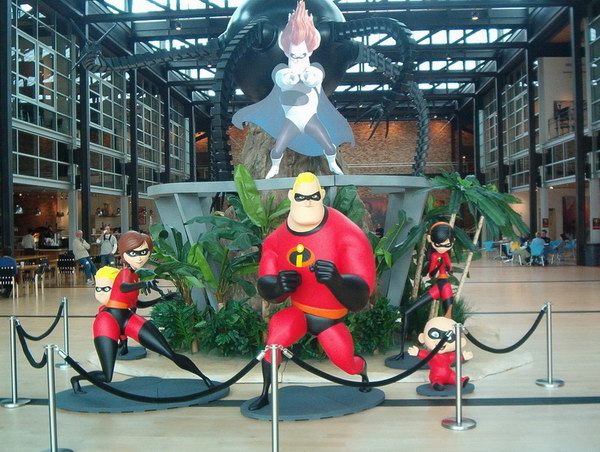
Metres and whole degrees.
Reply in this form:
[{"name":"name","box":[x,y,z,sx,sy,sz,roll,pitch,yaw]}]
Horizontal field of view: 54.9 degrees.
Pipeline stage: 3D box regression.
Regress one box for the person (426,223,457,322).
[{"name":"person","box":[1.722,0.516,7.026,0.358,1.182,0.452,-5,-7,35]}]

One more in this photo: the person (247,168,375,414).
[{"name":"person","box":[0.155,0.506,5.828,1.181,2.089,0.763,-1,-6,-6]}]

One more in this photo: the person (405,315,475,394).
[{"name":"person","box":[1.612,1.521,6.728,0.773,0.890,0.510,1,-13,-5]}]

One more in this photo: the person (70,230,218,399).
[{"name":"person","box":[-1.922,0.978,6.677,1.317,1.801,0.596,-1,-6,-9]}]
